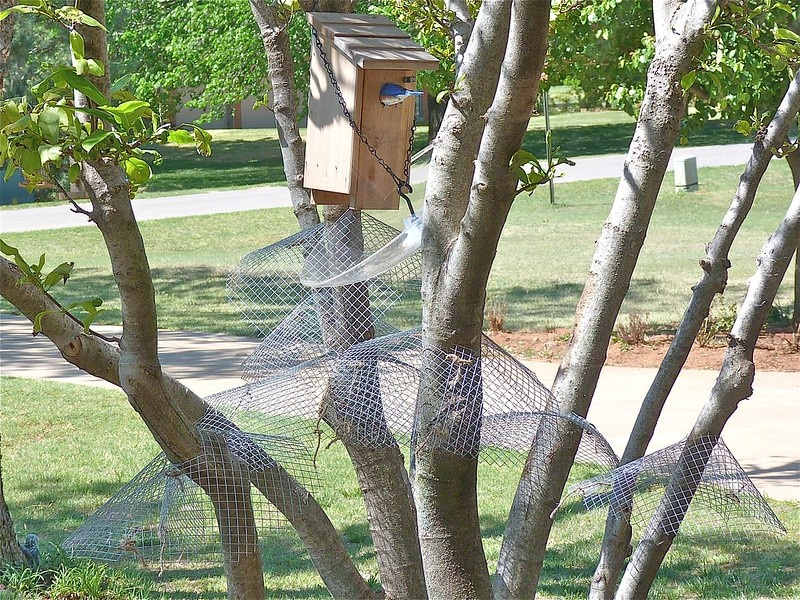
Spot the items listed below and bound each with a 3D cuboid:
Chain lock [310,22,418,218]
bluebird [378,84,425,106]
[{"bbox_3d":[-0.276,-1.412,15.857,0.231,1.609,0.192,-25,5,-35],"label":"Chain lock"},{"bbox_3d":[0.020,-1.595,15.850,0.271,0.155,0.148,7,15,26],"label":"bluebird"}]
